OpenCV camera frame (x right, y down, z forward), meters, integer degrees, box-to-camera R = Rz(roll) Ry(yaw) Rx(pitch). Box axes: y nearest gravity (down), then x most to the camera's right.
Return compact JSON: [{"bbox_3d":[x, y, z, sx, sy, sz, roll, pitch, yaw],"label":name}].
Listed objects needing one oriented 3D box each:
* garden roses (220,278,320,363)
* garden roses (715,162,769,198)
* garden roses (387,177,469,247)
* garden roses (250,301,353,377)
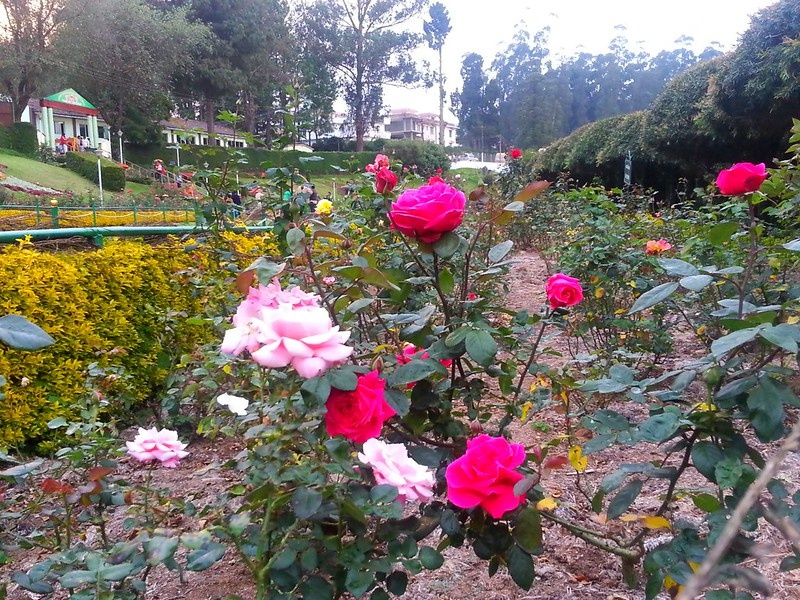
[{"bbox_3d":[-0.358,0.102,1.683,0.169,0.226,0.238,33,40,-22],"label":"garden roses"},{"bbox_3d":[1.180,-0.412,2.018,0.152,0.094,0.141,-16,9,45],"label":"garden roses"},{"bbox_3d":[0.089,-0.271,1.758,0.215,0.181,0.183,15,21,32],"label":"garden roses"},{"bbox_3d":[-0.270,0.107,1.545,0.249,0.180,0.236,-1,18,-15],"label":"garden roses"}]
